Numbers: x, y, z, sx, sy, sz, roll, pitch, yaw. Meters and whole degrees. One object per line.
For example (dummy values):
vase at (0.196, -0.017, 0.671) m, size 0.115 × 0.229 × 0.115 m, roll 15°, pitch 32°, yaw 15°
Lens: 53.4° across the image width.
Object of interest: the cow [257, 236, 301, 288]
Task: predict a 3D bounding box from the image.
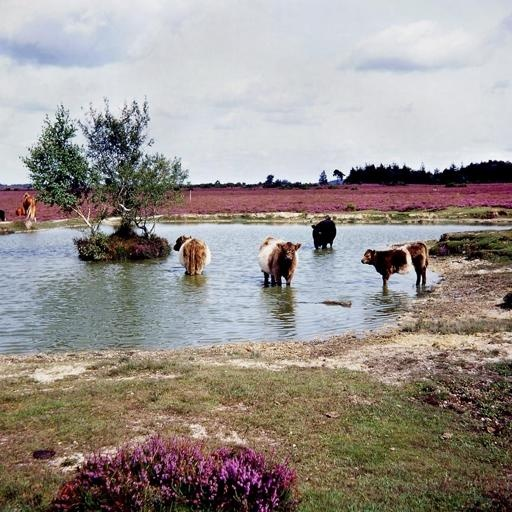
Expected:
cow at (0.988, 0.331, 21.101) m, size 1.374 × 2.018 × 3.485 m, roll -3°, pitch 4°, yaw -15°

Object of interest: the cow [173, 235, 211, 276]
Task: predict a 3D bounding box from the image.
cow at (-3.016, -0.047, 24.427) m, size 1.297 × 1.660 × 2.692 m, roll -1°, pitch 6°, yaw -13°

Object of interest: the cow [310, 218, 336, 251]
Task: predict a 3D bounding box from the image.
cow at (4.637, -1.502, 34.311) m, size 1.411 × 2.020 × 1.831 m, roll 1°, pitch 6°, yaw 6°
